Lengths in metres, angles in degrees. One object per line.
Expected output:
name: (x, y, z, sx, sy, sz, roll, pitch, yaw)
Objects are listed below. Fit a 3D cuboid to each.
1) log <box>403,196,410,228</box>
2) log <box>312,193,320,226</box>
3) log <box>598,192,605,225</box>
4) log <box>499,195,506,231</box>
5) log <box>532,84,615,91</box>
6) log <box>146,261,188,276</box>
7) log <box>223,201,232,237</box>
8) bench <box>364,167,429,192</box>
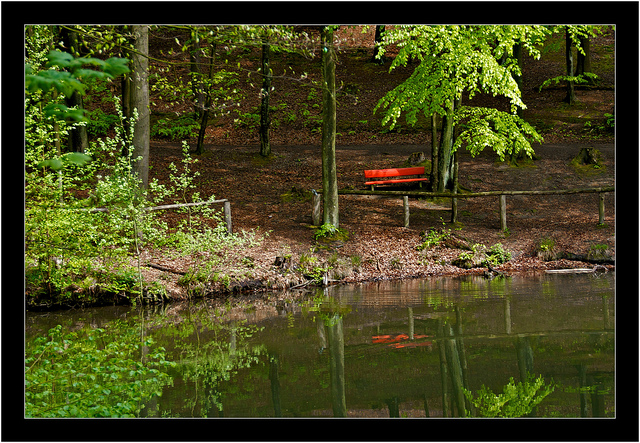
log: (2.283, -0.251, 22.289, 0.142, 0.826, 0.340, 2, 7, 6)
log: (-0.068, -0.303, 21.620, 0.181, 0.831, 0.234, 1, 7, 0)
log: (7.566, -0.372, 22.908, 0.164, 0.897, 0.847, 4, 7, 18)
log: (4.857, -0.227, 22.615, 0.207, 0.949, 0.208, 5, 8, 27)
log: (10.734, -5.693, 35.963, 3.192, 0.287, 0.993, 4, 7, 25)
log: (-3.305, 1.047, 18.409, 0.778, 0.110, 0.125, 12, 44, -9)
log: (-2.160, -0.097, 20.382, 0.185, 0.820, 1.128, 1, 7, -6)
bench: (2.257, -1.283, 24.878, 1.802, 0.643, 1.121, 1, 7, 2)
